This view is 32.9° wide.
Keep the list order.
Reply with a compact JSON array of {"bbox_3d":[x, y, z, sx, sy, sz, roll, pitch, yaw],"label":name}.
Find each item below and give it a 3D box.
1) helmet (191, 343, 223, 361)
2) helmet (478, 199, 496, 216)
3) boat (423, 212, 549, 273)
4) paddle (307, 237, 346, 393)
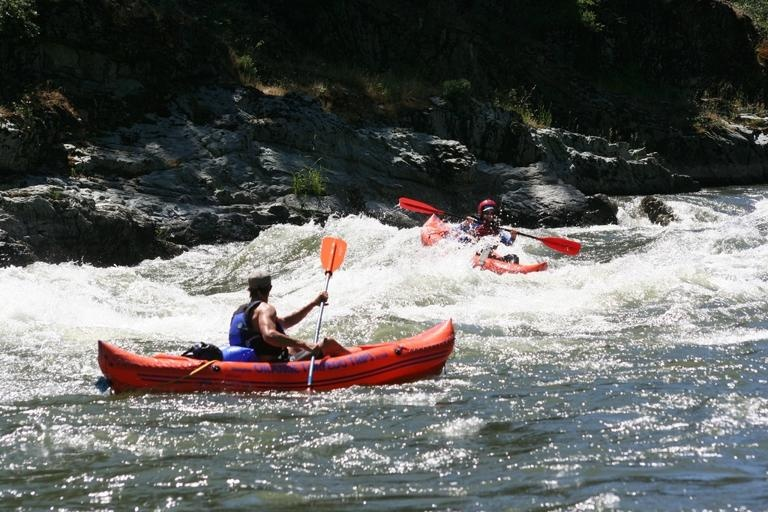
[{"bbox_3d":[-3.520,1.900,25.824,0.480,0.188,0.368,14,3,-4],"label":"helmet"},{"bbox_3d":[2.608,-1.144,32.024,0.378,0.487,0.431,5,46,-10],"label":"helmet"},{"bbox_3d":[2.119,-0.125,30.879,1.317,0.753,2.711,-7,22,-44],"label":"boat"},{"bbox_3d":[-1.272,0.989,27.036,0.521,3.458,0.141,8,-35,4],"label":"paddle"}]
